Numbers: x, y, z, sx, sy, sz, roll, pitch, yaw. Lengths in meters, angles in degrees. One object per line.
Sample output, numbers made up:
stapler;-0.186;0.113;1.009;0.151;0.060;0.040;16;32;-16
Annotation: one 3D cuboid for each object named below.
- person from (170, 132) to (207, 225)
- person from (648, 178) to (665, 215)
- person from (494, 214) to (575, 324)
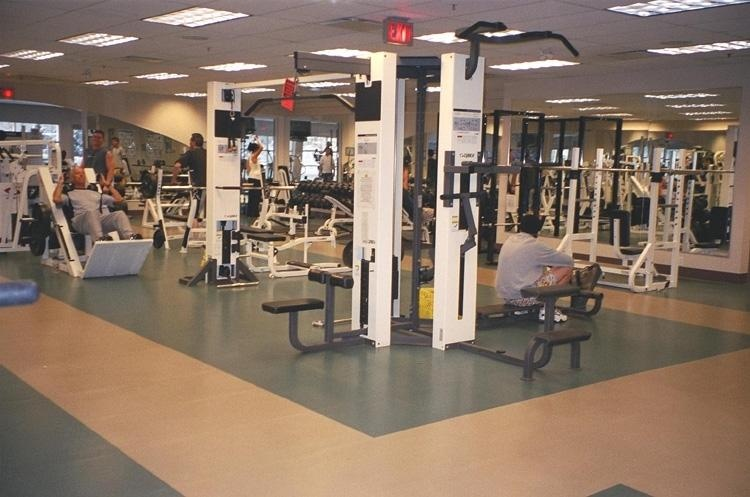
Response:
person;-3.365;-1.242;10.705;0.547;1.677;1.159;-3;16;-18
person;4.951;-0.979;10.309;0.281;0.271;1.214;-11;30;31
person;1.902;0.251;6.992;0.794;1.326;0.625;-11;21;-38
